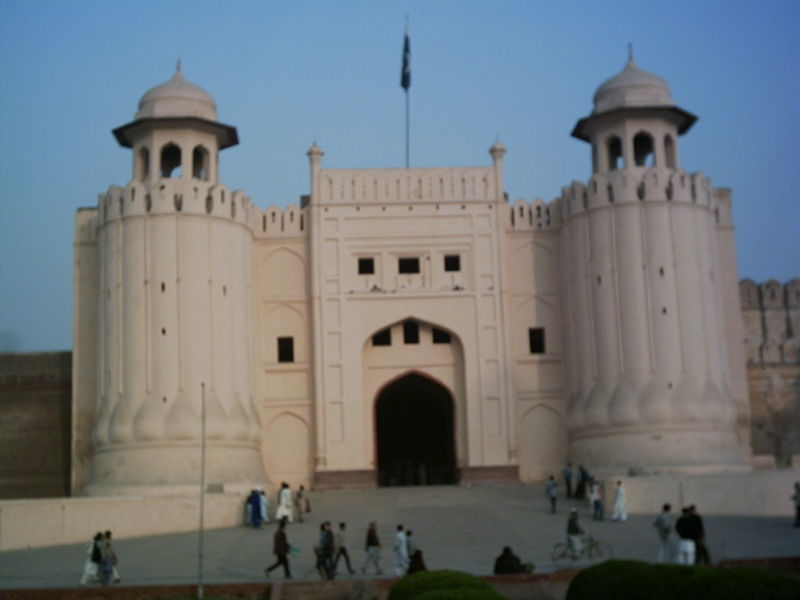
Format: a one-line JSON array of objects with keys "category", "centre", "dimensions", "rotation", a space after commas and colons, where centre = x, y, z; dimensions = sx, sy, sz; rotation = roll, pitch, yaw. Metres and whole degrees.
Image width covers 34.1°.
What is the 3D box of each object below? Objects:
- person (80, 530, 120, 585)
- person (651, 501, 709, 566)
[{"category": "person", "centre": [-4.945, 4.288, 21.503], "dimensions": [0.589, 0.801, 0.225], "rotation": [1, -8, -13]}, {"category": "person", "centre": [4.715, 4.002, 22.075], "dimensions": [0.990, 1.260, 0.482], "rotation": [-4, -4, 36]}]
